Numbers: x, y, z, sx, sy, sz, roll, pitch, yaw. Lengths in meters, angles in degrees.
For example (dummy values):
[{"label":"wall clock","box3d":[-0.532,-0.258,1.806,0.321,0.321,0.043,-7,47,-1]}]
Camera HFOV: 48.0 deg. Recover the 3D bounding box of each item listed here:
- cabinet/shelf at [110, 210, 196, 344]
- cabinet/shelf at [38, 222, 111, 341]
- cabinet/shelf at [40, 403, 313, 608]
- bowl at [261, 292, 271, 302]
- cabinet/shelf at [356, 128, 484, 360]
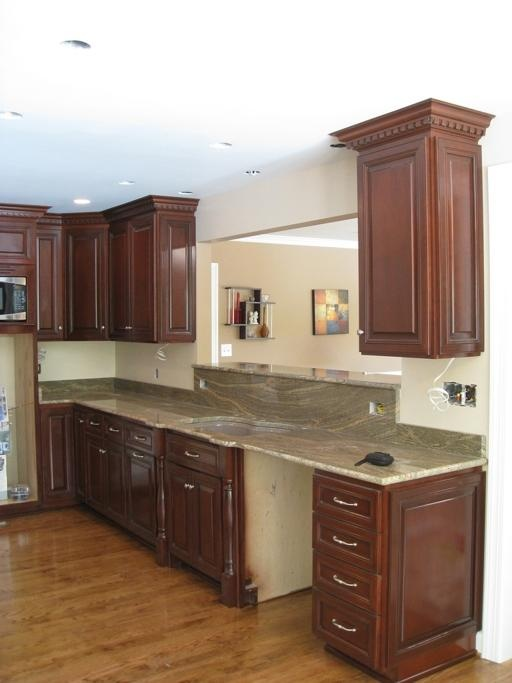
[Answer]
[{"label":"cabinet/shelf","box3d":[-0.767,-0.508,4.427,0.521,1.245,1.013,-3,5,-35]},{"label":"cabinet/shelf","box3d":[-1.576,-0.562,4.983,0.590,1.084,0.210,0,-1,-10]},{"label":"cabinet/shelf","box3d":[-0.755,0.944,3.981,0.557,0.917,2.565,1,-2,-43]},{"label":"bowl","box3d":[0.098,-0.471,6.089,0.081,0.062,0.075,1,1,0]},{"label":"cabinet/shelf","box3d":[0.668,-0.384,2.413,0.518,0.900,0.342,-1,-1,21]}]
